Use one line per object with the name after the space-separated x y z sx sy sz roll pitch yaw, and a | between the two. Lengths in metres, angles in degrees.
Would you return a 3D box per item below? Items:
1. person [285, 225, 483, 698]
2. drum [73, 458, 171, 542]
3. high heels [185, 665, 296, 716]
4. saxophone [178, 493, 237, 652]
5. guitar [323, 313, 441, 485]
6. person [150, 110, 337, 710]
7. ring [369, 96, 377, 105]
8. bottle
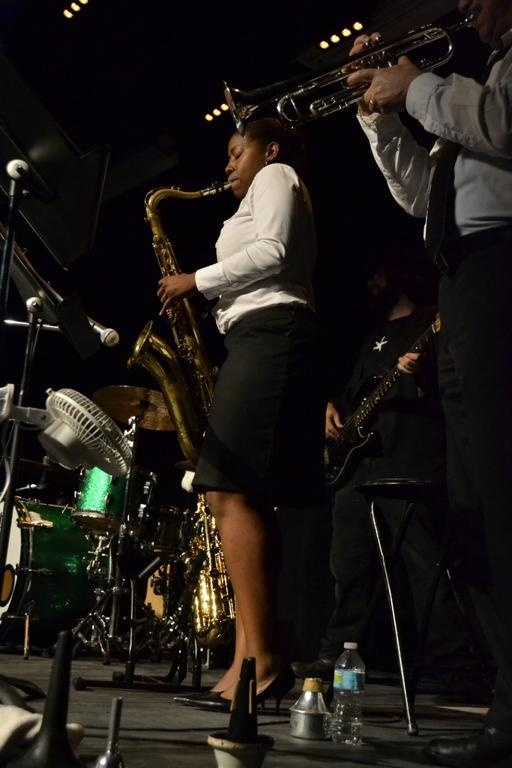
0.647 0.384 2.919 0.808 2.026 0.970 1 2 -4 | person
-0.885 0.640 3.720 0.546 0.632 0.588 3 0 39 | drum
-0.043 0.836 1.717 0.312 0.150 0.195 -6 -21 36 | high heels
-0.269 0.990 3.454 0.357 0.832 0.368 4 -3 -19 | saxophone
0.535 0.096 2.862 0.490 0.807 0.451 3 4 27 | guitar
-0.085 0.030 1.844 0.530 1.557 0.529 2 3 -15 | person
0.281 -0.682 1.490 0.005 0.017 0.016 -5 -46 -22 | ring
0.247 0.816 1.644 0.078 0.245 0.079 5 -19 2 | bottle
